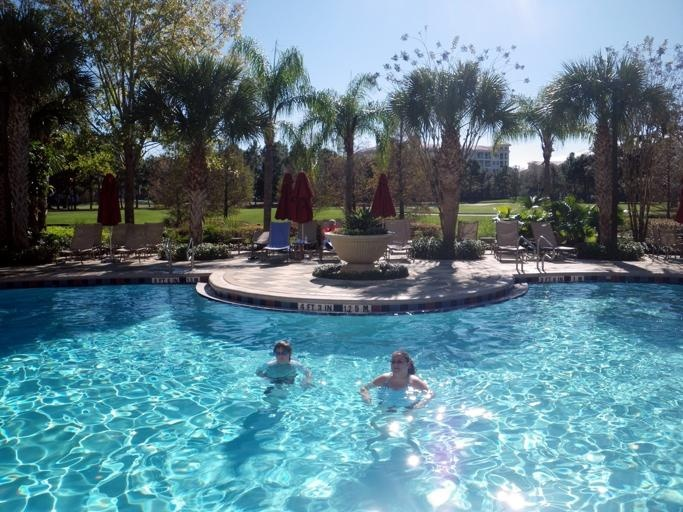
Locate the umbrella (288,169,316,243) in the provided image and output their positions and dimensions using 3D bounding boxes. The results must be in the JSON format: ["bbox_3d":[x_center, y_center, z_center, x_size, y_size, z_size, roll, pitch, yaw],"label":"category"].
[{"bbox_3d":[-1.387,-1.666,18.269,0.764,2.603,1.852,-1,14,-6],"label":"umbrella"}]

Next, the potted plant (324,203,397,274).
[{"bbox_3d":[0.458,-0.510,14.248,1.476,1.658,1.621,0,3,15],"label":"potted plant"}]

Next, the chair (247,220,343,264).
[{"bbox_3d":[-2.014,-0.370,19.260,1.403,1.247,2.694,4,9,24],"label":"chair"}]

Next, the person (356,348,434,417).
[{"bbox_3d":[0.797,1.847,7.860,1.049,0.943,0.727,0,-14,20],"label":"person"}]
